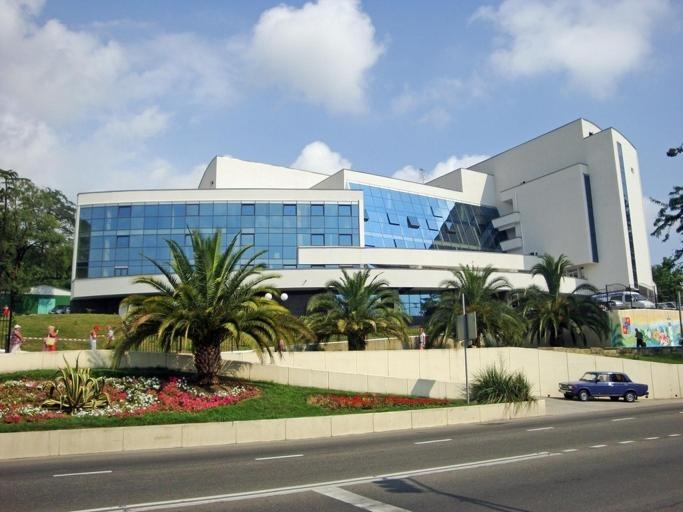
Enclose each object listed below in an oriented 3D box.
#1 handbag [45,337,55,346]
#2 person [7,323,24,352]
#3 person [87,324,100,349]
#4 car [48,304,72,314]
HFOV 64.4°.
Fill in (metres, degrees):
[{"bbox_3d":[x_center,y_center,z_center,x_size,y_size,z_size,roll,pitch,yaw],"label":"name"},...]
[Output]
[{"bbox_3d":[-13.436,3.895,24.908,0.340,0.407,0.397,3,-6,-37],"label":"handbag"},{"bbox_3d":[-15.025,3.754,24.821,0.495,1.111,1.528,3,-6,-32],"label":"person"},{"bbox_3d":[-14.931,4.845,32.492,0.443,1.413,1.333,-1,5,-26],"label":"person"},{"bbox_3d":[-27.334,5.108,52.365,1.579,0.861,1.012,9,-13,-32],"label":"car"}]
